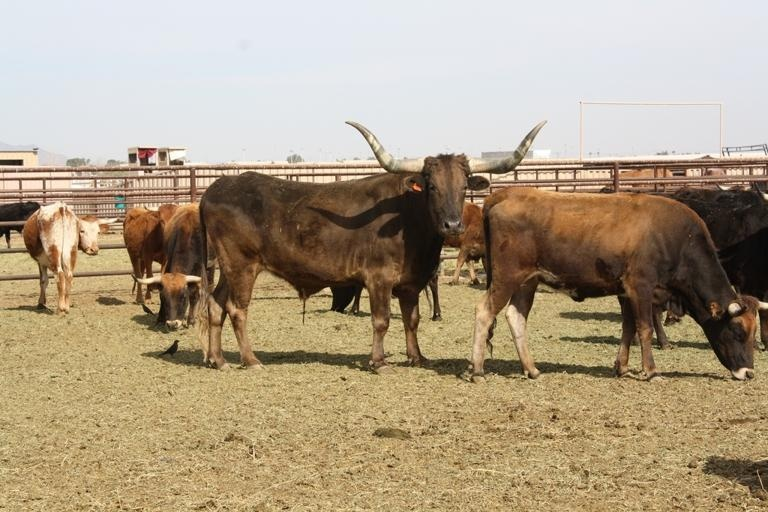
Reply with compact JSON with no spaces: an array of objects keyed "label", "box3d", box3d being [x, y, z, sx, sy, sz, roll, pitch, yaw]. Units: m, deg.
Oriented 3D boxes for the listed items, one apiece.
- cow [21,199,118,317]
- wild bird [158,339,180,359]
[{"label":"cow","box3d":[-5.706,-0.023,17.321,1.601,1.572,3.026,1,-2,-27]},{"label":"wild bird","box3d":[-2.912,1.274,13.425,0.354,0.228,0.121,-18,-10,19]}]
